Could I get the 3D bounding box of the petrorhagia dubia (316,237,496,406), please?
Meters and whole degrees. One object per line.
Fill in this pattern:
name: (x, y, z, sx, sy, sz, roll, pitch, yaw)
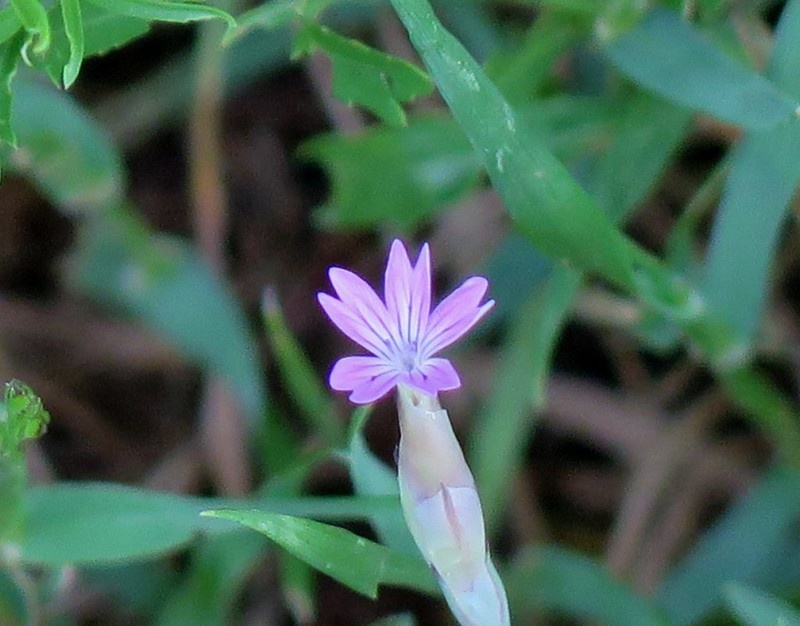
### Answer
petrorhagia dubia: (-0.005, 0.023, 1.620, 0.275, 0.327, 0.157, -6, -10, 10)
